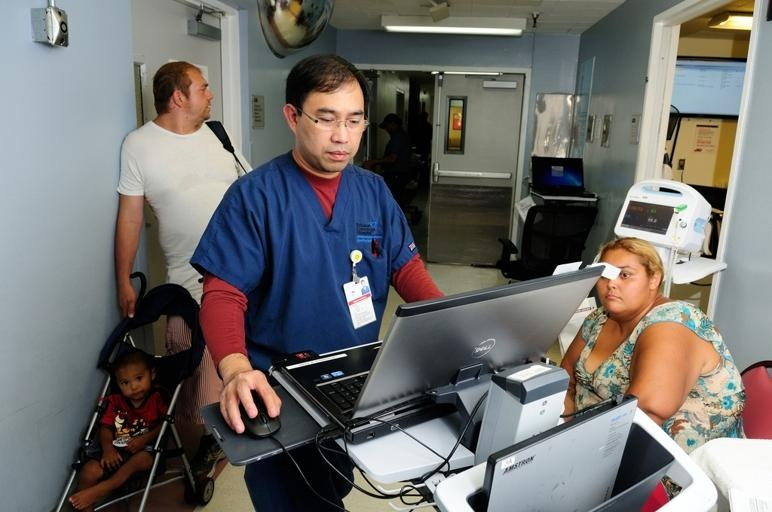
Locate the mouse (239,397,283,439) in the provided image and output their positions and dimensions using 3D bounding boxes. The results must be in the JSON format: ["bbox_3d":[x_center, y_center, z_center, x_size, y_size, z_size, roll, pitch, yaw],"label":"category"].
[{"bbox_3d":[-0.377,0.484,1.543,0.100,0.045,0.163,-8,18,-35],"label":"mouse"}]

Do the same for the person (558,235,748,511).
[{"bbox_3d":[1.267,0.431,2.612,0.957,1.332,1.035,-2,0,-4],"label":"person"}]

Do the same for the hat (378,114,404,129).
[{"bbox_3d":[0.037,-2.010,7.869,0.311,0.239,0.426,-12,20,-30],"label":"hat"}]

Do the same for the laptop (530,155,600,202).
[{"bbox_3d":[2.011,-0.888,5.890,0.736,0.503,0.516,1,3,-3],"label":"laptop"}]

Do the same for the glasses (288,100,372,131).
[{"bbox_3d":[-0.189,-0.489,1.831,0.274,0.082,0.139,-2,15,-10],"label":"glasses"}]
